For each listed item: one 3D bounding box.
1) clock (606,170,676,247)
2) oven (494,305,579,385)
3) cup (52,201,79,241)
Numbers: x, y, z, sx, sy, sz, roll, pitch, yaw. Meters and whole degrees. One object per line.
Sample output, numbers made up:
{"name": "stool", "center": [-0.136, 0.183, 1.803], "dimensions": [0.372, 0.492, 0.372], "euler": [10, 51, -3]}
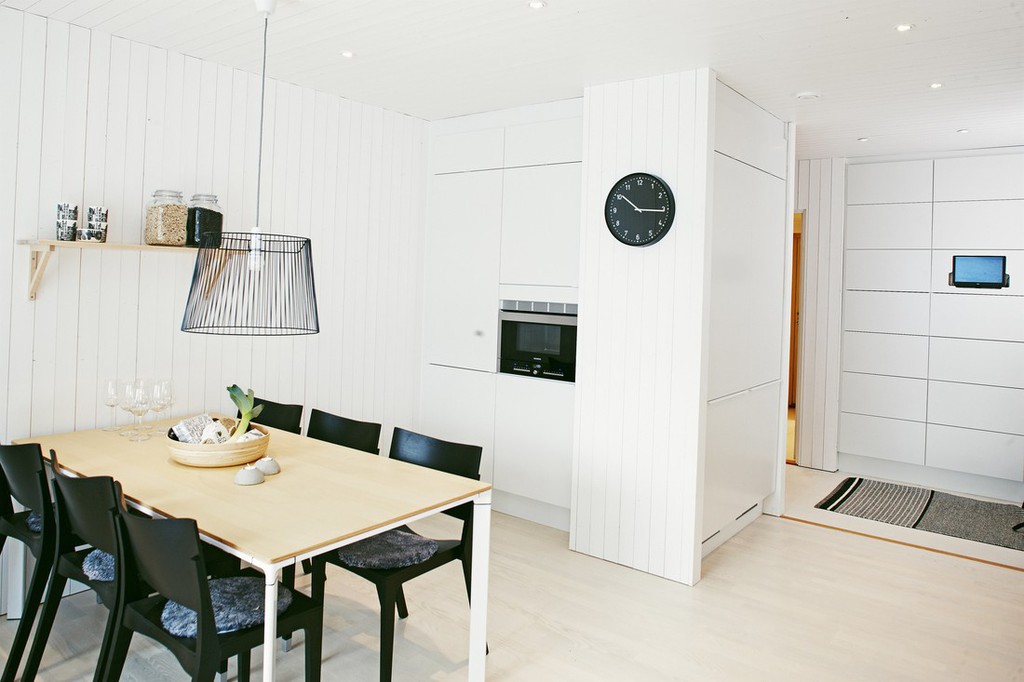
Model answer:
{"name": "clock", "center": [0.872, -0.892, 4.725], "dimensions": [0.476, 0.535, 0.086], "euler": [-1, -10, 11]}
{"name": "oven", "center": [0.310, -0.017, 5.482], "dimensions": [0.795, 0.558, 0.431], "euler": [5, 14, 15]}
{"name": "cup", "center": [-2.598, -0.693, 4.020], "dimensions": [0.109, 0.203, 0.209], "euler": [-5, 15, -27]}
